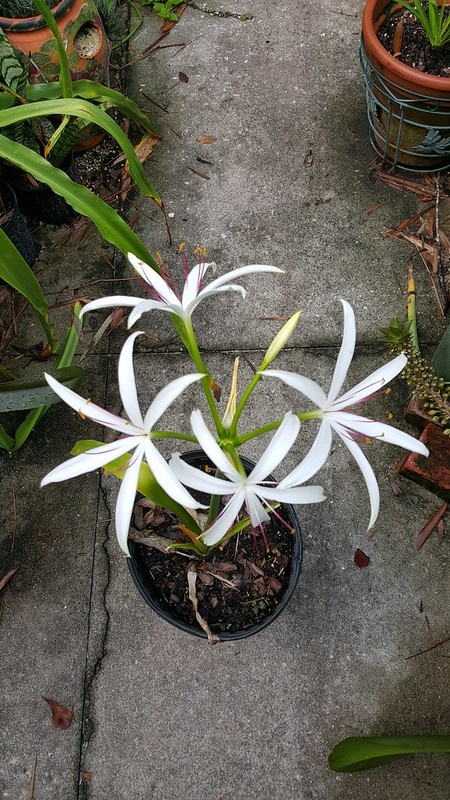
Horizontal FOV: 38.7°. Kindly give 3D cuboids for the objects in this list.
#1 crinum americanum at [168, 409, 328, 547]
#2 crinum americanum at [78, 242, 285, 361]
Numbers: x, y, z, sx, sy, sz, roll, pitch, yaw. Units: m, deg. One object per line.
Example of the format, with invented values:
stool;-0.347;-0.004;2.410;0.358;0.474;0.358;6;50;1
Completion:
crinum americanum;0.008;0.083;1.059;0.300;0.321;0.141;1;89;1
crinum americanum;-0.070;-0.149;1.242;0.306;0.163;0.335;4;48;17
